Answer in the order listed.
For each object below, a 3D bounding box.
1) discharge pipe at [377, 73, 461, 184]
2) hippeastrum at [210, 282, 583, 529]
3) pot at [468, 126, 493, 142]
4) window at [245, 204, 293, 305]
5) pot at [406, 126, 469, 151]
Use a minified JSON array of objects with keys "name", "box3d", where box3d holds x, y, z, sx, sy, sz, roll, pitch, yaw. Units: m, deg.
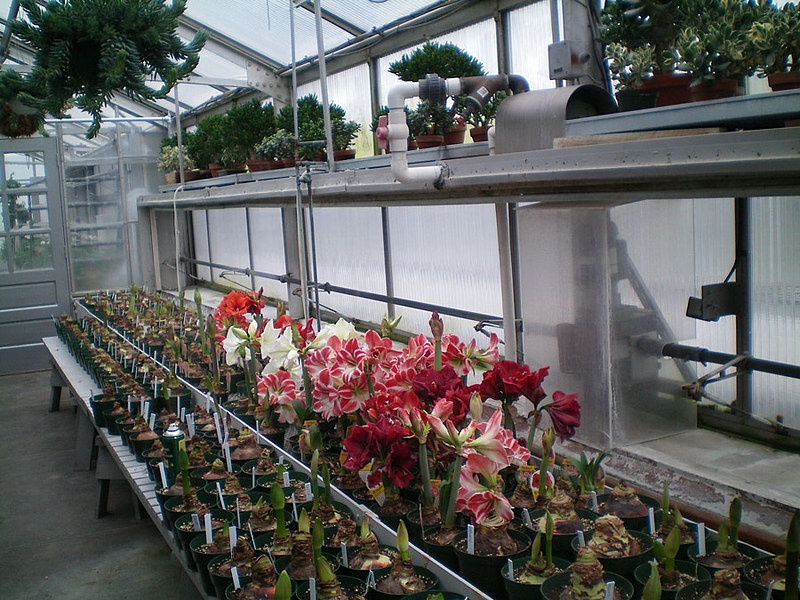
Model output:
[{"name":"discharge pipe","box3d":[0.063,-0.653,2.489,0.336,0.424,0.100,-8,0,-26]},{"name":"hippeastrum","box3d":[-0.089,0.307,2.133,0.690,0.566,1.321,-9,11,-32]},{"name":"pot","box3d":[0.438,-0.903,3.465,0.078,0.085,0.251,-4,10,-5]},{"name":"window","box3d":[-1.307,-0.484,6.446,0.052,1.009,0.856,-11,20,-28]},{"name":"pot","box3d":[0.215,-0.919,3.714,0.251,0.183,0.273,-2,3,0]}]
